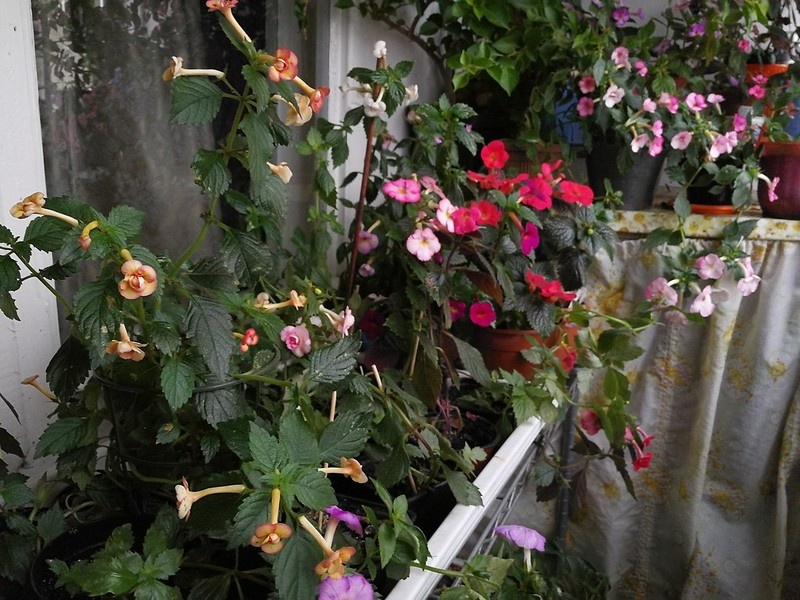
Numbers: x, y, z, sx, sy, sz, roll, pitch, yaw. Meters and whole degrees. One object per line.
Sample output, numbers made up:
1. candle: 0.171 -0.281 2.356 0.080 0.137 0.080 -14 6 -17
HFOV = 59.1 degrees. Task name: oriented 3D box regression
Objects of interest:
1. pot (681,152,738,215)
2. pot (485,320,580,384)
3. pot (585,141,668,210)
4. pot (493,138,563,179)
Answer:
1. pot: 0.875 -0.326 2.000 0.120 0.108 0.137 -2 -14 7
2. pot: 0.316 0.123 1.755 0.155 0.122 0.167 6 -2 0
3. pot: 0.640 -0.344 2.014 0.194 0.154 0.179 3 8 0
4. pot: 0.350 -0.391 1.941 0.161 0.168 0.148 1 12 0
